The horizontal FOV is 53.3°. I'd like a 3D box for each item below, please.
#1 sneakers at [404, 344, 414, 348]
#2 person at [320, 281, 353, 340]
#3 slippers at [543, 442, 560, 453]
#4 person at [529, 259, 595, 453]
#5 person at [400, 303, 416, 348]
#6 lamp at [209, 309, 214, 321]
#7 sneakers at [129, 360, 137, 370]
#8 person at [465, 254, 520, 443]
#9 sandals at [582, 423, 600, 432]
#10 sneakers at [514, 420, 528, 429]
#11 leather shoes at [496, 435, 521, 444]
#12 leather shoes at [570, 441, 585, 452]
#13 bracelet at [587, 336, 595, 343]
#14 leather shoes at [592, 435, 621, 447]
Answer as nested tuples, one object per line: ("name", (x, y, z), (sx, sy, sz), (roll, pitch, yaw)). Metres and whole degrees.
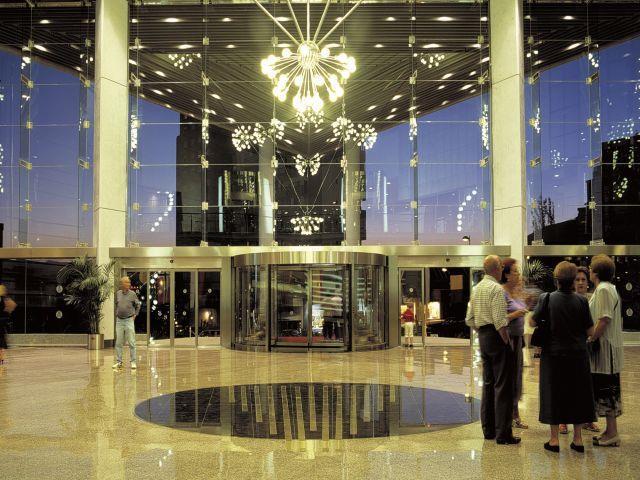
("sneakers", (2.661, 3.158, 19.112), (0.281, 0.104, 0.556), (0, 0, 8))
("person", (0.406, 1.968, 17.649), (0.760, 1.686, 0.243), (0, 0, -1))
("slippers", (3.007, 2.687, 8.283), (0.192, 0.092, 0.144), (0, 0, 19))
("person", (3.188, 1.511, 8.365), (0.759, 2.445, 0.399), (0, 0, 19))
("person", (2.648, 2.587, 19.299), (0.396, 1.219, 0.711), (0, 0, 8))
("lamp", (-3.356, 2.301, 19.646), (0.211, 0.404, 0.212), (2, -7, -21))
("sneakers", (-4.191, 2.805, 14.290), (0.190, 0.194, 0.342), (-1, -6, -9))
("person", (2.350, 1.464, 8.647), (0.353, 2.500, 0.624), (0, 0, -38))
("sandals", (3.831, 2.647, 8.998), (0.217, 0.088, 0.104), (-1, -1, -19))
("sneakers", (2.861, 2.645, 9.132), (0.221, 0.098, 0.076), (-4, -5, 31))
("leather shoes", (2.508, 2.661, 8.557), (0.334, 0.145, 0.123), (-1, -3, -8))
("leather shoes", (3.335, 2.680, 8.275), (0.175, 0.107, 0.155), (0, 0, 23))
("bracelet", (3.625, 1.326, 8.537), (0.119, 0.124, 0.075), (6, -10, -2))
("leather shoes", (3.793, 2.660, 8.424), (0.317, 0.133, 0.151), (2, -6, 12))
